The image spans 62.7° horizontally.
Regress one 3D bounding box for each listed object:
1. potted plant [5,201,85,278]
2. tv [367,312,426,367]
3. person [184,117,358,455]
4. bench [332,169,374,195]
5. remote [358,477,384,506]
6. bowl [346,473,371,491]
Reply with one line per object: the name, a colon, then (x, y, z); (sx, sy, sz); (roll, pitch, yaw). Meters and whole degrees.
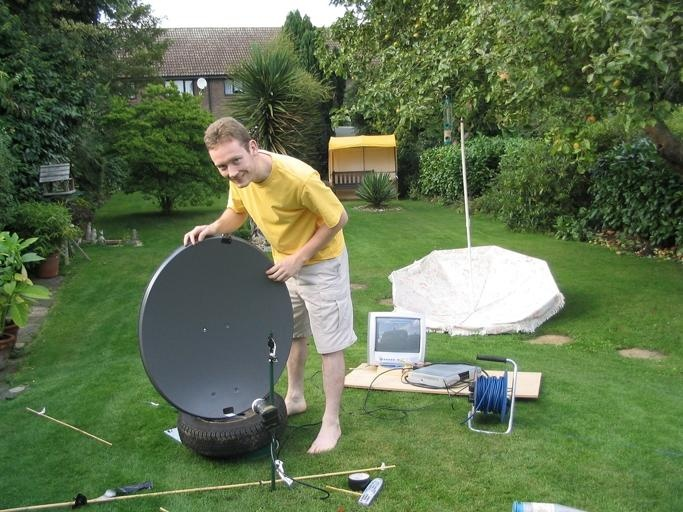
potted plant: (-4.572, -0.243, 8.570); (0.935, 1.229, 1.129); (0, 11, 11)
tv: (0.571, 0.818, 5.779); (0.684, 0.710, 0.456); (0, -4, 7)
person: (-0.567, 0.235, 4.527); (1.192, 2.692, 0.896); (-4, 16, -10)
bench: (0.331, -2.684, 21.637); (1.343, 0.668, 1.113); (-1, 18, 1)
remote: (0.207, 1.624, 3.873); (0.071, 0.031, 0.243); (4, 15, 17)
bowl: (0.127, 1.571, 3.950); (0.105, 0.070, 0.110); (-1, 7, 0)
